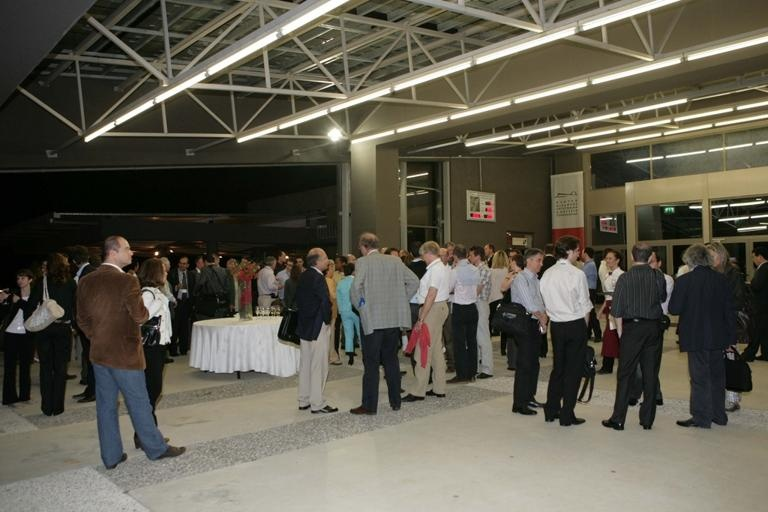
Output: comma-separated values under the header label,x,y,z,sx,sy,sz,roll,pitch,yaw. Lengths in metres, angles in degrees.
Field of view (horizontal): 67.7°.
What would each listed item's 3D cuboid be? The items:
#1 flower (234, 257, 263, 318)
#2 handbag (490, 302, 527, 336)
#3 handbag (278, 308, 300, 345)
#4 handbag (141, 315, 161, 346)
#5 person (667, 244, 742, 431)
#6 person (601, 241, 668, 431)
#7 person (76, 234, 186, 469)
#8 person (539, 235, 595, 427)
label,x,y,z,sx,sy,sz,roll,pitch,yaw
flower,-2.443,0.593,10.097,0.555,1.043,0.600,2,-2,-44
handbag,1.660,0.822,7.505,0.486,0.465,0.205,12,-15,31
handbag,-1.333,1.016,7.951,0.285,0.558,0.523,-2,8,-10
handbag,-2.653,0.838,6.479,0.347,0.334,0.178,2,-9,-15
person,3.938,0.972,7.092,0.790,2.199,0.578,-3,8,-15
person,3.055,0.982,7.006,0.727,2.203,0.534,0,7,6
person,-2.862,1.039,6.388,0.932,2.468,0.583,-4,8,-22
person,2.230,1.090,7.125,0.586,1.998,0.378,1,8,15
